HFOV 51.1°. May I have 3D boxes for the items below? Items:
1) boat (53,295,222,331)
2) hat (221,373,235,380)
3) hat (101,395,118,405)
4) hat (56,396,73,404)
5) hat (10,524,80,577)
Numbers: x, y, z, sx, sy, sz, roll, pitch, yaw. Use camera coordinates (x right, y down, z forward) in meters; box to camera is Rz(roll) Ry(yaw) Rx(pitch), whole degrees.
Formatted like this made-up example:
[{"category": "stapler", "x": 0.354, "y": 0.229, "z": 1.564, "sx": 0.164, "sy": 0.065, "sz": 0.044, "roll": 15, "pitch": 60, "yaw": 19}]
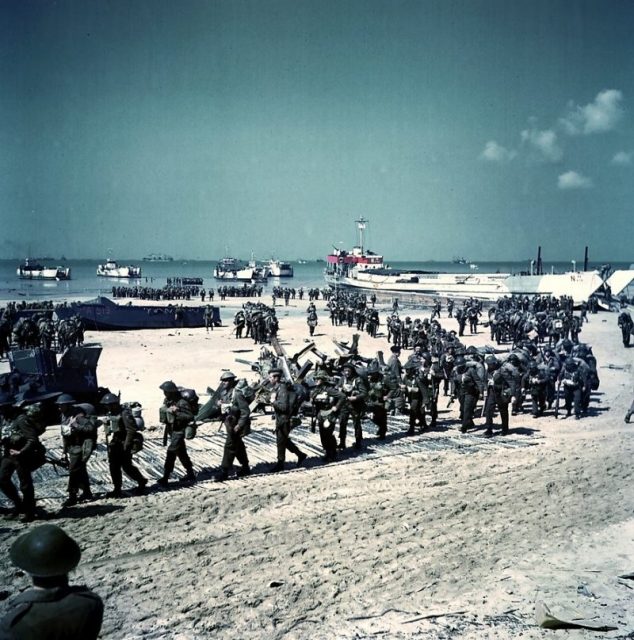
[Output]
[{"category": "boat", "x": -9.825, "y": -0.367, "z": 36.869, "sx": 8.998, "sy": 1.922, "sz": 2.058, "roll": 2, "pitch": -1, "yaw": -36}, {"category": "hat", "x": -1.340, "y": 0.852, "z": 10.027, "sx": 0.254, "sy": 0.088, "sz": 0.243, "roll": -2, "pitch": 5, "yaw": -25}, {"category": "hat", "x": -2.780, "y": 1.071, "z": 8.990, "sx": 0.201, "sy": 0.138, "sz": 0.403, "roll": -2, "pitch": 6, "yaw": -17}, {"category": "hat", "x": -3.235, "y": 1.016, "z": 8.556, "sx": 0.204, "sy": 0.122, "sz": 0.221, "roll": -3, "pitch": 6, "yaw": -26}, {"category": "hat", "x": -1.498, "y": 1.275, "z": 3.703, "sx": 0.319, "sy": 0.139, "sz": 0.331, "roll": 15, "pitch": 36, "yaw": -15}]
